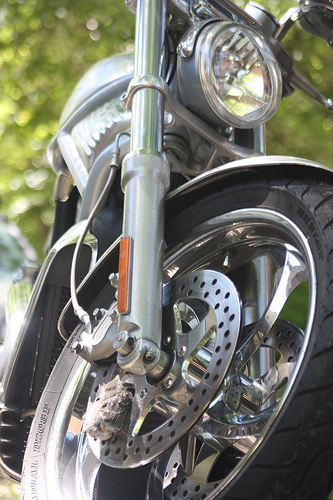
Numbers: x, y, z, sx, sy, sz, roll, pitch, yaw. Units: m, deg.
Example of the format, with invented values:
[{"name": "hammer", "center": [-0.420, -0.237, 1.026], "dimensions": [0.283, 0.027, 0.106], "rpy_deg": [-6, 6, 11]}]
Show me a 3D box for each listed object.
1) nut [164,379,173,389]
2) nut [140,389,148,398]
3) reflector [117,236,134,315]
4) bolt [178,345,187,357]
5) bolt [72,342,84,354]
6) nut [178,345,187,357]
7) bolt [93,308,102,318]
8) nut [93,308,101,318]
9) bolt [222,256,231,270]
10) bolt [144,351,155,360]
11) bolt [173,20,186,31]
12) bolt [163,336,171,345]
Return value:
[{"name": "nut", "center": [0.002, 0.167, 0.790], "dimensions": [0.010, 0.009, 0.008], "rpy_deg": [-15, 55, -2]}, {"name": "nut", "center": [-0.030, 0.183, 0.813], "dimensions": [0.008, 0.005, 0.011], "rpy_deg": [2, 55, 9]}, {"name": "reflector", "center": [-0.058, 0.028, 0.820], "dimensions": [0.026, 0.097, 0.011], "rpy_deg": [-4, 12, -37]}, {"name": "bolt", "center": [0.019, 0.129, 0.812], "dimensions": [0.010, 0.004, 0.015], "rpy_deg": [27, 61, 23]}, {"name": "bolt", "center": [-0.121, 0.135, 0.880], "dimensions": [0.013, 0.016, 0.015], "rpy_deg": [9, 85, 27]}, {"name": "nut", "center": [0.019, 0.129, 0.812], "dimensions": [0.010, 0.004, 0.015], "rpy_deg": [27, 61, 23]}, {"name": "bolt", "center": [-0.101, 0.093, 0.928], "dimensions": [0.010, 0.012, 0.009], "rpy_deg": [-9, 86, -8]}, {"name": "nut", "center": [-0.101, 0.092, 0.928], "dimensions": [0.010, 0.010, 0.012], "rpy_deg": [-2, 24, 13]}, {"name": "bolt", "center": [0.091, 0.021, 0.988], "dimensions": [0.011, 0.019, 0.018], "rpy_deg": [16, 60, 18]}, {"name": "bolt", "center": [-0.019, 0.126, 0.763], "dimensions": [0.012, 0.010, 0.003], "rpy_deg": [1, 12, -16]}, {"name": "bolt", "center": [0.022, -0.391, 1.111], "dimensions": [0.021, 0.017, 0.009], "rpy_deg": [0, 57, 7]}, {"name": "bolt", "center": [0.000, 0.120, 0.843], "dimensions": [0.012, 0.009, 0.013], "rpy_deg": [-14, 55, -2]}]
